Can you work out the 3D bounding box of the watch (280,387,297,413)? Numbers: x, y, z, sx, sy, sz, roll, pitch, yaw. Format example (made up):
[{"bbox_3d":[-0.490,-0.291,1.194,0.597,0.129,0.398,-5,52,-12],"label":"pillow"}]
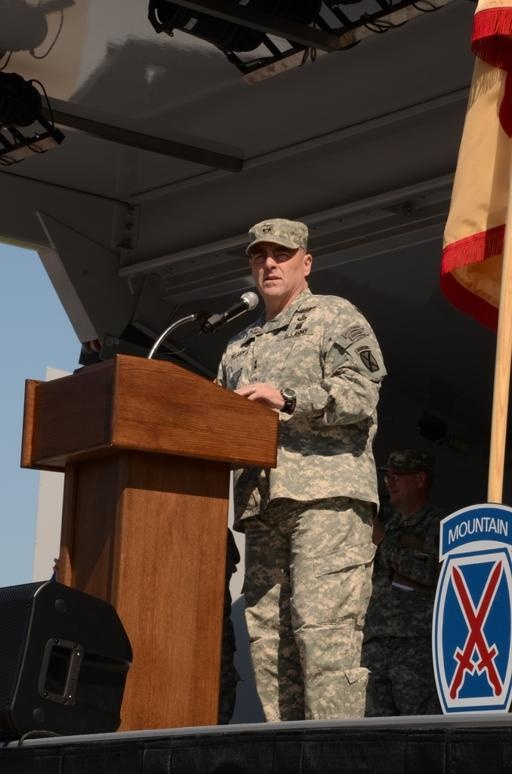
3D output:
[{"bbox_3d":[0.075,0.028,2.136,0.035,0.057,0.064,-1,-15,11],"label":"watch"}]

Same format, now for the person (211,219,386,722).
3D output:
[{"bbox_3d":[0.123,0.155,2.363,0.419,1.344,0.585,3,-15,-3],"label":"person"}]
